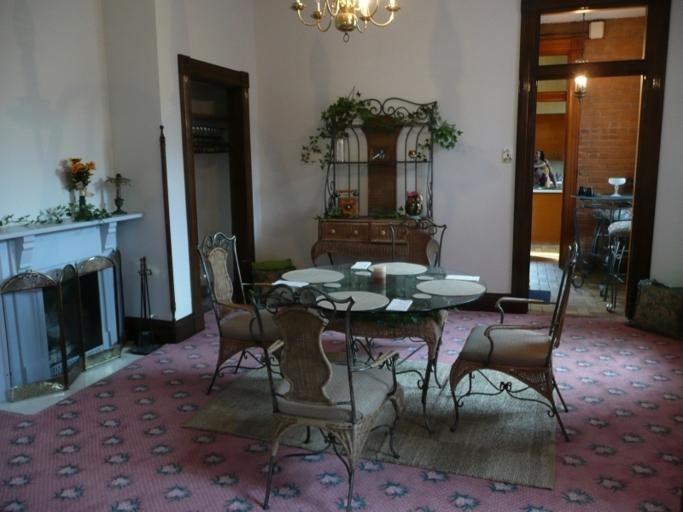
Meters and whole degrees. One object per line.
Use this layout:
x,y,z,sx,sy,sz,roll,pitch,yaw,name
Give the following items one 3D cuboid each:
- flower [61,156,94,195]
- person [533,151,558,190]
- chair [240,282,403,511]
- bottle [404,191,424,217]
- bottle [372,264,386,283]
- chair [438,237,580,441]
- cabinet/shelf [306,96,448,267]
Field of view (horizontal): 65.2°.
-2.249,-0.694,4.640,0.283,0.340,0.328,0,9,1,flower
3.489,-1.470,9.063,0.294,0.603,0.775,9,14,42,person
-0.117,0.894,3.312,0.907,1.659,0.968,4,14,21,chair
0.789,-0.565,5.702,0.229,0.271,0.198,2,2,10,bottle
0.288,0.135,4.111,0.114,0.136,0.118,-1,7,-5,bottle
1.181,0.497,4.361,1.174,1.892,1.065,4,10,19,chair
0.450,-0.864,5.891,1.715,2.486,0.726,2,5,16,cabinet/shelf
